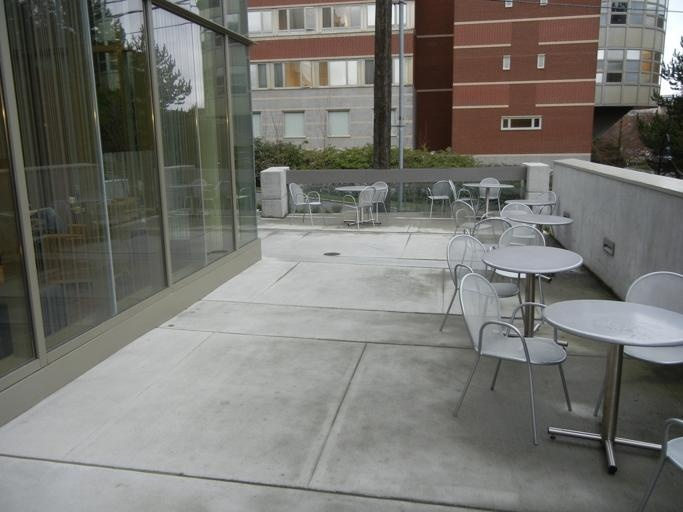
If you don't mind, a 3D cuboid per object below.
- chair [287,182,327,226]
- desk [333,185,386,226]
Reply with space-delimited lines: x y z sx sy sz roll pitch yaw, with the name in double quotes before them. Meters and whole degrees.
"chair" -0.844 -1.196 12.376 0.945 1.381 0.812 4 11 27
"desk" 0.588 -1.331 12.453 0.926 0.930 0.990 -13 47 8
